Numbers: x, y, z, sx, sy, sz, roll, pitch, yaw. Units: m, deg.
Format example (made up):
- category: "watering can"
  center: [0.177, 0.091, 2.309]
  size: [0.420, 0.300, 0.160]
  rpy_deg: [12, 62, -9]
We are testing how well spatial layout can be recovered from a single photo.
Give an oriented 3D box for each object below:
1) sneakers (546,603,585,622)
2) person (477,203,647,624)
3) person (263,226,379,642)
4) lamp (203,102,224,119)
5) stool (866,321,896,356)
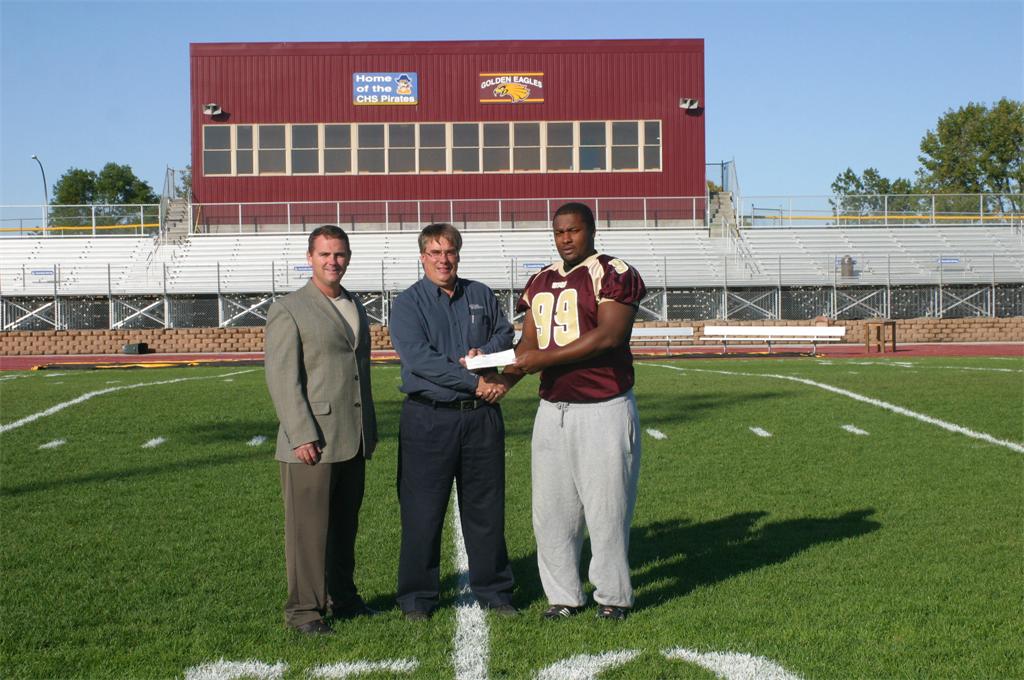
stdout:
- category: "sneakers"
  center: [0.446, 2.160, 7.745]
  size: [0.297, 0.145, 0.116]
  rpy_deg: [10, -3, -16]
- category: "person"
  center: [0.541, 0.545, 7.739]
  size: [0.995, 3.216, 0.725]
  rpy_deg: [1, 10, 10]
- category: "person"
  center: [-1.486, 0.667, 7.707]
  size: [0.896, 3.080, 0.705]
  rpy_deg: [-8, 12, -36]
- category: "lamp"
  center: [-12.096, -9.292, 39.364]
  size: [0.616, 0.437, 0.651]
  rpy_deg: [0, 2, -9]
- category: "stool"
  center: [11.174, -0.056, 29.197]
  size: [0.867, 0.938, 0.867]
  rpy_deg: [1, -3, -34]
